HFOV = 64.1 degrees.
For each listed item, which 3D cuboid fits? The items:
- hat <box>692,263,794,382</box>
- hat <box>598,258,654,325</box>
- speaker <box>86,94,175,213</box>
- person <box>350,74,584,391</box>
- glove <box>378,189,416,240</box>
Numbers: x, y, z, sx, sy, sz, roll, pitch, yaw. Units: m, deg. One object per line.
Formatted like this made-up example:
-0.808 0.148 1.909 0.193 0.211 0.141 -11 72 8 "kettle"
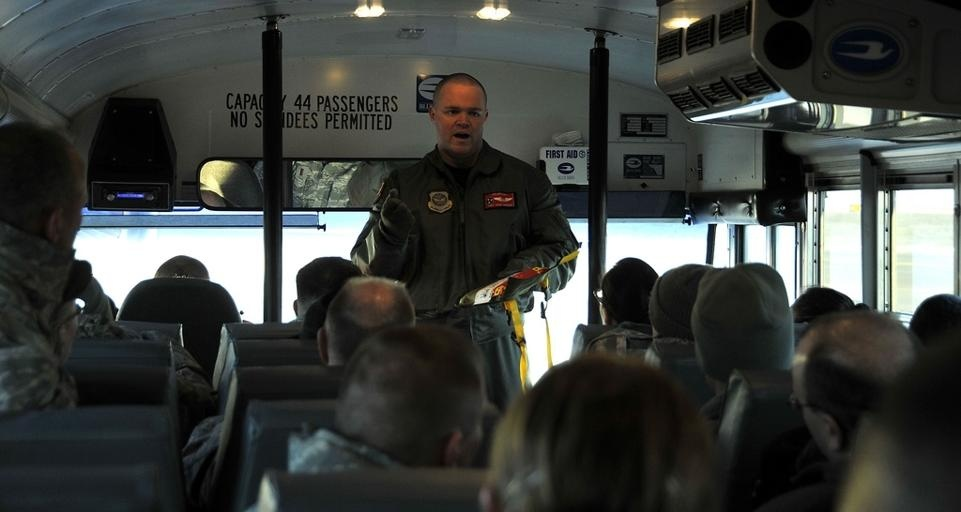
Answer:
1.430 0.328 4.243 0.551 0.541 0.708 -2 3 19 "hat"
0.988 0.247 5.411 0.392 0.440 0.467 9 -10 -9 "hat"
-3.895 -1.174 8.660 1.048 1.134 1.102 -8 32 -33 "speaker"
-0.082 0.354 5.137 1.568 2.856 1.083 -3 7 -17 "person"
-0.495 -0.231 4.503 0.193 0.297 0.259 0 1 -7 "glove"
